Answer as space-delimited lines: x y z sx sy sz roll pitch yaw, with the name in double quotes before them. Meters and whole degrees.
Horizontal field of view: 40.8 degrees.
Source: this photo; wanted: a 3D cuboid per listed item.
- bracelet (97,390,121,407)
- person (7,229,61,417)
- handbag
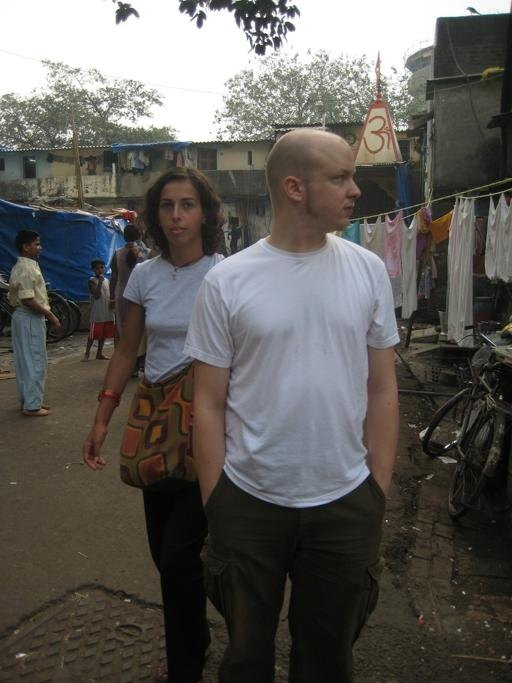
"bracelet" -0.516 0.206 2.446 0.055 0.066 0.038 12 47 -6
"person" -2.147 -0.190 6.675 0.413 1.766 0.591 -2 6 -23
"handbag" -0.294 0.268 2.137 0.277 0.365 0.189 -29 -38 32
